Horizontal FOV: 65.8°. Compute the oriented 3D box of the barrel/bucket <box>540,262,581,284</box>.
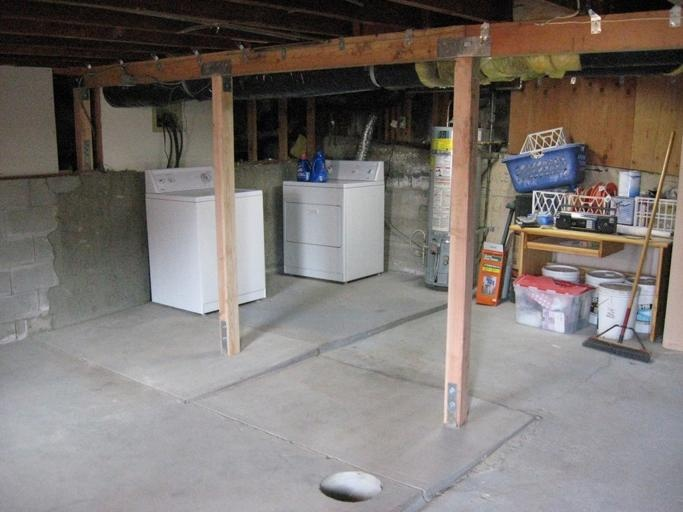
[{"bbox_3d":[2.251,0.166,5.394,0.245,0.239,0.243,-2,12,0],"label":"barrel/bucket"}]

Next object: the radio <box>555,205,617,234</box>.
[{"bbox_3d":[2.311,-0.313,5.019,0.113,0.182,0.533,-12,16,-44],"label":"radio"}]

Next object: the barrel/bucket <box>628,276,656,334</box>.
[{"bbox_3d":[2.795,0.507,4.984,0.279,0.438,0.272,1,11,0],"label":"barrel/bucket"}]

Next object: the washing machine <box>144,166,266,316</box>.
[{"bbox_3d":[-1.471,-0.204,5.742,1.025,1.469,0.870,6,14,33],"label":"washing machine"}]

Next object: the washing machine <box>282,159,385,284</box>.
[{"bbox_3d":[-0.080,-0.490,6.798,1.159,1.405,1.110,6,15,22],"label":"washing machine"}]

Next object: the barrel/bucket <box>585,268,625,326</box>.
[{"bbox_3d":[2.589,0.397,5.283,0.333,0.555,0.320,1,16,0],"label":"barrel/bucket"}]
